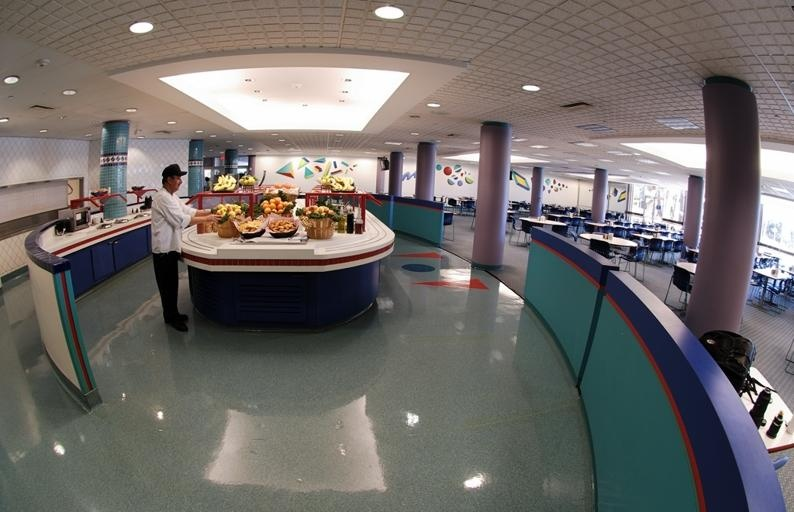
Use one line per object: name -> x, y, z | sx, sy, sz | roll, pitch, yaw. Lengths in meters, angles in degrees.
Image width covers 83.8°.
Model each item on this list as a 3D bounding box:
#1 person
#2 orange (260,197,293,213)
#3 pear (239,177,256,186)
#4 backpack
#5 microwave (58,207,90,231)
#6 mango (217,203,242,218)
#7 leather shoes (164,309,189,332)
person -> -3.090, -0.122, 6.331 | 0.586, 2.294, 0.666 | 2, 11, -1
orange -> -1.877, -0.764, 6.918 | 0.343, 0.116, 0.321 | 7, 13, 11
pear -> -2.916, -1.463, 8.690 | 0.223, 0.096, 0.238 | 3, 10, 1
backpack -> 3.177, 1.031, 4.264 | 0.453, 0.513, 0.492 | 4, 11, 9
microwave -> -5.284, -0.605, 7.332 | 0.415, 0.403, 0.609 | 3, 9, -5
mango -> -2.457, -0.665, 6.635 | 0.288, 0.099, 0.268 | 5, 3, 7
leather shoes -> -3.102, 0.957, 6.290 | 0.557, 0.205, 0.184 | -3, -2, 33
